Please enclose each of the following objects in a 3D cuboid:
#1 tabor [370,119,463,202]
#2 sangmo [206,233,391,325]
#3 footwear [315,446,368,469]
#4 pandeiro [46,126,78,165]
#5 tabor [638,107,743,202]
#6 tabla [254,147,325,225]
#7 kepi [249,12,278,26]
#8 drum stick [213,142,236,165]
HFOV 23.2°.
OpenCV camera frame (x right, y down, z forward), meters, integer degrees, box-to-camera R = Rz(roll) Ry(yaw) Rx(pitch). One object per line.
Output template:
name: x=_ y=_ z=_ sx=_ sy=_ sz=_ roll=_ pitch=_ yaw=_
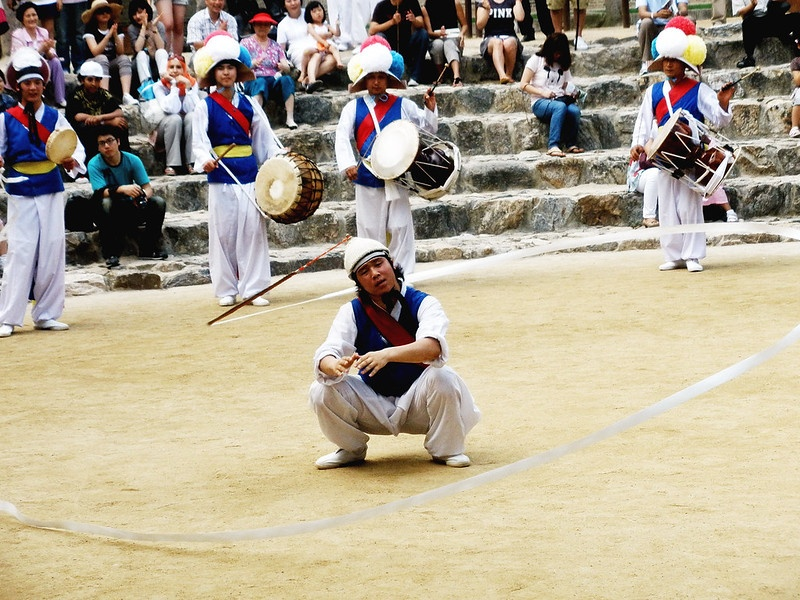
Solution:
tabor: x=0.118 y=-1.234 z=17.217 sx=0.791 sy=0.688 sz=0.748 roll=22 pitch=-4 yaw=-35
sangmo: x=-0.870 y=-0.139 z=16.431 sx=0.107 sy=0.159 sz=2.529 roll=-31 pitch=1 yaw=-35
footwear: x=-0.400 y=1.126 z=13.758 sx=0.388 sy=0.128 sz=0.133 roll=-2 pitch=3 yaw=-21
pandeiro: x=-2.805 y=-1.294 z=16.511 sx=0.150 sy=0.309 sz=0.363 roll=4 pitch=9 yaw=40
tabor: x=2.579 y=-1.330 z=17.167 sx=0.759 sy=0.784 sz=0.629 roll=11 pitch=23 yaw=38
tabla: x=-0.939 y=-0.958 z=16.813 sx=0.572 sy=0.607 sz=0.339 roll=-3 pitch=7 yaw=-3
kepi: x=-1.440 y=-3.014 z=20.873 sx=0.260 sy=0.068 sz=0.236 roll=-1 pitch=-3 yaw=2
drum stick: x=-1.492 y=-1.270 z=17.047 sx=0.037 sy=0.285 sz=0.040 roll=57 pitch=12 yaw=30
